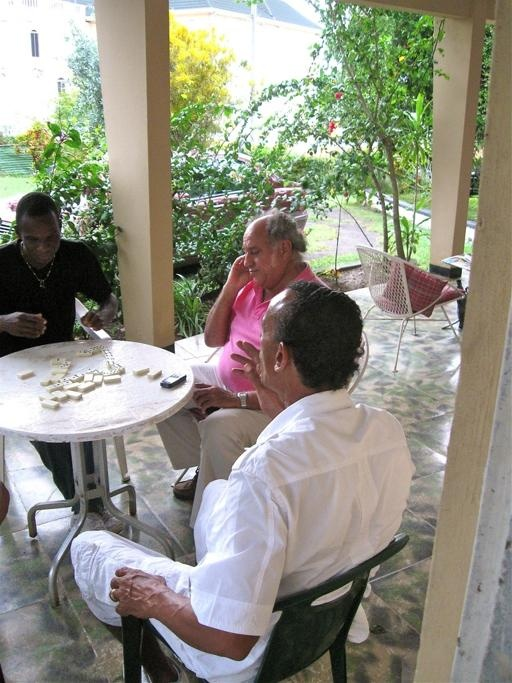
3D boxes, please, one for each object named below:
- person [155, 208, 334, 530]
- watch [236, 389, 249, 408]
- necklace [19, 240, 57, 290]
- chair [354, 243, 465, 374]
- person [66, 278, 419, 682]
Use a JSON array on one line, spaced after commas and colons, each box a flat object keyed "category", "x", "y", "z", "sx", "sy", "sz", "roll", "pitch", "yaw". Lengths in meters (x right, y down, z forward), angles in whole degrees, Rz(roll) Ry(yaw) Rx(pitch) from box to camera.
[{"category": "person", "x": -0.055, "y": 0.104, "z": 2.436, "sx": 0.795, "sy": 1.344, "sz": 0.563, "roll": -12, "pitch": 25, "yaw": -30}, {"category": "watch", "x": -0.062, "y": 0.233, "z": 2.184, "sx": 0.041, "sy": 0.058, "sz": 0.060, "roll": -1, "pitch": 22, "yaw": -4}, {"category": "necklace", "x": -1.030, "y": -0.352, "z": 2.494, "sx": 0.165, "sy": 0.188, "sz": 0.130, "roll": -9, "pitch": -12, "yaw": -27}, {"category": "chair", "x": 1.301, "y": -0.355, "z": 4.432, "sx": 0.759, "sy": 0.909, "sz": 0.802, "roll": -16, "pitch": 26, "yaw": -24}, {"category": "person", "x": -0.054, "y": 0.337, "z": 1.202, "sx": 0.523, "sy": 0.930, "sz": 0.610, "roll": -13, "pitch": 21, "yaw": -41}]
